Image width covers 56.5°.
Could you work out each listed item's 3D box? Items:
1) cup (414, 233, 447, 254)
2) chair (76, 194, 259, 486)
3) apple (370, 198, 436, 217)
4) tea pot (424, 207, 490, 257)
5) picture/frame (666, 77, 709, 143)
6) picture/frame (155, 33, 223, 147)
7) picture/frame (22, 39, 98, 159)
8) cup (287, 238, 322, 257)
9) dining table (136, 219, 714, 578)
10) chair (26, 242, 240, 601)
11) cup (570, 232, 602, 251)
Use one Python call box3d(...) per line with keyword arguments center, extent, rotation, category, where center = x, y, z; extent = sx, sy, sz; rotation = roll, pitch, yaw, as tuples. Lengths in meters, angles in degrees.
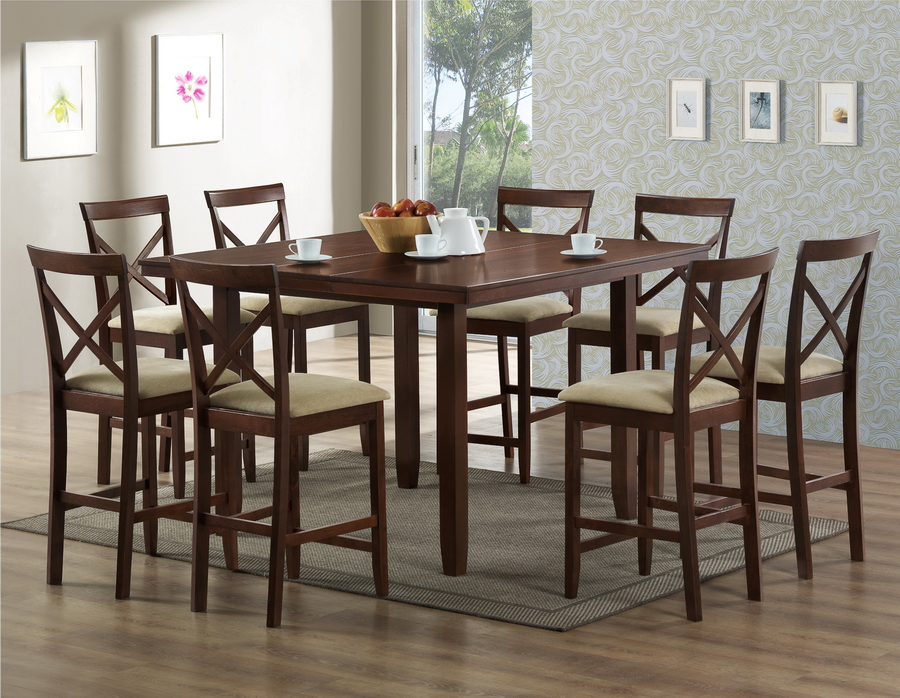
box3d(center=(-0.077, -0.405, 3.304), extent=(0.133, 0.076, 0.087), rotation=(0, -1, -43), category="cup")
box3d(center=(-1.179, -0.055, 4.479), extent=(0.906, 1.481, 0.797), rotation=(-17, 7, 0), category="chair")
box3d(center=(-0.205, -0.587, 3.541), extent=(0.262, 0.091, 0.118), rotation=(-5, 8, -8), category="apple")
box3d(center=(0.037, -0.476, 3.468), extent=(0.284, 0.163, 0.216), rotation=(1, 4, 5), category="tea pot")
box3d(center=(1.295, -1.312, 4.598), extent=(0.228, 0.305, 0.031), rotation=(-4, 7, -17), category="picture/frame")
box3d(center=(-1.871, -1.830, 5.931), extent=(0.040, 0.822, 0.587), rotation=(8, 12, 39), category="picture/frame")
box3d(center=(-2.455, -1.556, 5.238), extent=(0.050, 0.780, 0.533), rotation=(7, 11, 33), category="picture/frame")
box3d(center=(-0.569, -0.391, 3.259), extent=(0.166, 0.083, 0.120), rotation=(1, 5, 13), category="cup")
box3d(center=(-0.199, 0.243, 3.422), extent=(1.668, 0.932, 1.604), rotation=(3, 7, 40), category="dining table")
box3d(center=(-1.233, 0.125, 3.715), extent=(0.822, 1.459, 0.729), rotation=(-14, 38, -42), category="chair")
box3d(center=(0.529, -0.412, 3.306), extent=(0.097, 0.079, 0.141), rotation=(-1, -1, 31), category="cup")
